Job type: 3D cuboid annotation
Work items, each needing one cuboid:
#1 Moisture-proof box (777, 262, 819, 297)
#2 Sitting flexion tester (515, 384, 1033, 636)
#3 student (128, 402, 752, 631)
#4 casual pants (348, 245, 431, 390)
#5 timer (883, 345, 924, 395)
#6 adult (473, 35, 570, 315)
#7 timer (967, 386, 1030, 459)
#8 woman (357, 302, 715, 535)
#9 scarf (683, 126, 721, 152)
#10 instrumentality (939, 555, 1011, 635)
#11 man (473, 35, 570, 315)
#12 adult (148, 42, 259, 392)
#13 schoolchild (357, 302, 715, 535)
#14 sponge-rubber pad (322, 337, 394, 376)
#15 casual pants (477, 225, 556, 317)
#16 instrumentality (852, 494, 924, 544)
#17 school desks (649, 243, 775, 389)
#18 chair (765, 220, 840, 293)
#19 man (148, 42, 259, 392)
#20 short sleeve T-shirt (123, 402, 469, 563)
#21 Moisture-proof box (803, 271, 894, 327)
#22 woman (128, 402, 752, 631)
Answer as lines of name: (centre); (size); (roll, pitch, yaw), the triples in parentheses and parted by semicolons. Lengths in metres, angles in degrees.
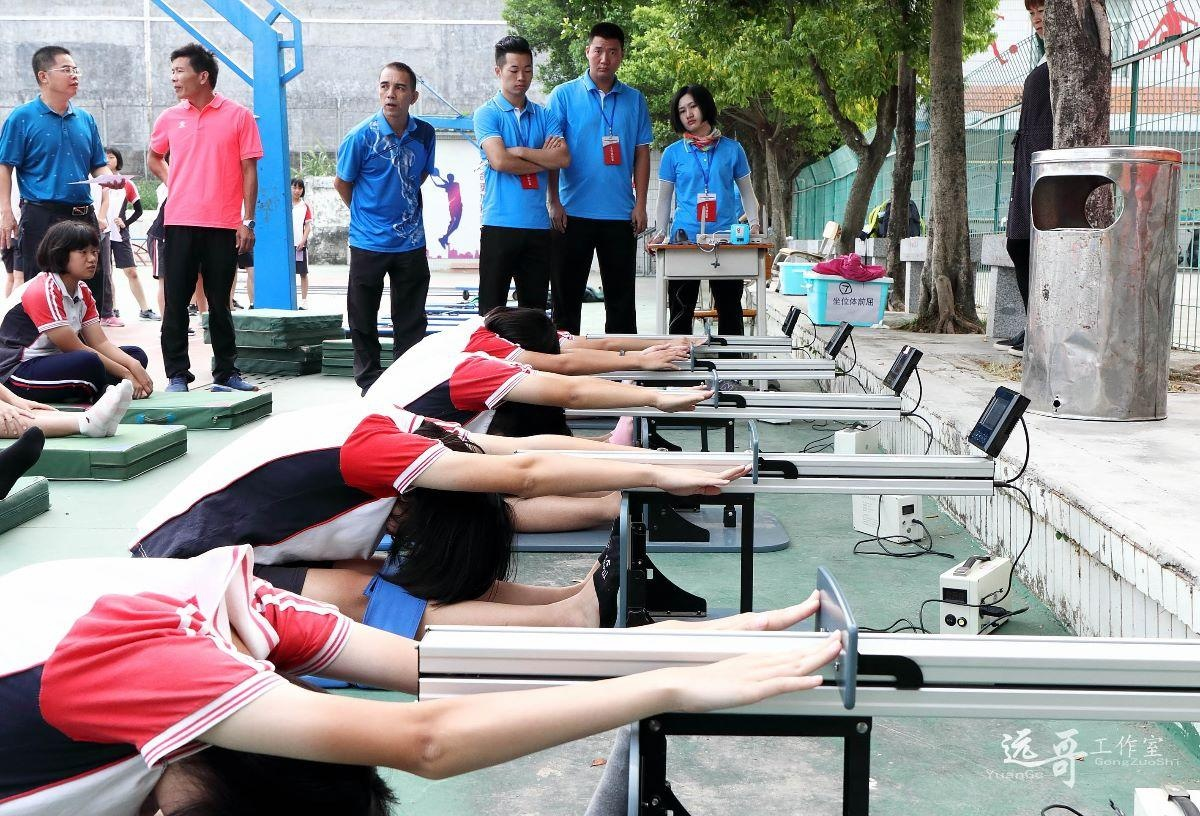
Moisture-proof box: (2.655, -1.751, 13.639); (0.585, 0.337, 0.757); (0, 0, 4)
Sitting flexion tester: (0.757, 0.357, 3.511); (1.411, 0.653, 0.308); (-3, -11, 9)
student: (-0.460, 0.423, 3.253); (1.678, 0.628, 0.743); (1, -3, 9)
casual pants: (-1.417, -0.821, 6.928); (0.475, 0.984, 0.253); (0, 51, -14)
timer: (1.256, -0.183, 4.276); (0.056, 0.198, 0.213); (33, -5, 7)
adult: (-0.485, -1.467, 6.516); (0.590, 1.739, 0.538); (-2, 11, -7)
timer: (1.285, 0.051, 3.343); (0.158, 0.241, 0.245); (3, 12, 16)
woman: (-0.396, 0.050, 4.253); (1.578, 0.782, 0.856); (4, 18, -14)
scarf: (0.743, -1.976, 7.579); (0.190, 0.084, 0.172); (8, 22, 32)
instrumentality: (1.352, 0.669, 3.719); (0.177, 0.245, 0.331); (3, 10, 38)
man: (-0.483, -1.473, 6.531); (0.589, 1.745, 0.577); (-3, 12, -14)
adult: (-2.652, -1.263, 6.957); (0.728, 2.341, 0.770); (-3, 12, -14)
schoolchild: (-0.166, 0.052, 4.308); (1.578, 0.782, 0.856); (4, 18, -14)
sponge-rubber pad: (-2.010, -0.405, 8.445); (0.461, 0.254, 0.588); (-2, 3, -7)
casual pants: (-0.553, -0.821, 6.700); (0.439, 0.856, 0.282); (1, 27, -20)
instrumentality: (1.284, 0.491, 4.554); (0.210, 0.229, 0.346); (1, 1, -25)
school desks: (0.782, -0.791, 7.396); (0.861, 0.693, 0.732); (-1, 6, 4)
chair: (2.834, -2.079, 14.162); (0.984, 0.904, 0.910); (-1, 12, -20)
man: (-2.652, -1.263, 6.957); (0.728, 2.341, 0.770); (-3, 12, -14)
short sleeve T-shirt: (-0.892, 0.261, 3.069); (0.974, 0.522, 0.347); (1, 11, 3)
Moisture-proof box: (2.233, -0.911, 9.140); (0.908, 0.527, 1.070); (2, 9, -1)
woman: (-0.568, 0.417, 3.352); (1.884, 0.686, 0.823); (8, 3, -21)
